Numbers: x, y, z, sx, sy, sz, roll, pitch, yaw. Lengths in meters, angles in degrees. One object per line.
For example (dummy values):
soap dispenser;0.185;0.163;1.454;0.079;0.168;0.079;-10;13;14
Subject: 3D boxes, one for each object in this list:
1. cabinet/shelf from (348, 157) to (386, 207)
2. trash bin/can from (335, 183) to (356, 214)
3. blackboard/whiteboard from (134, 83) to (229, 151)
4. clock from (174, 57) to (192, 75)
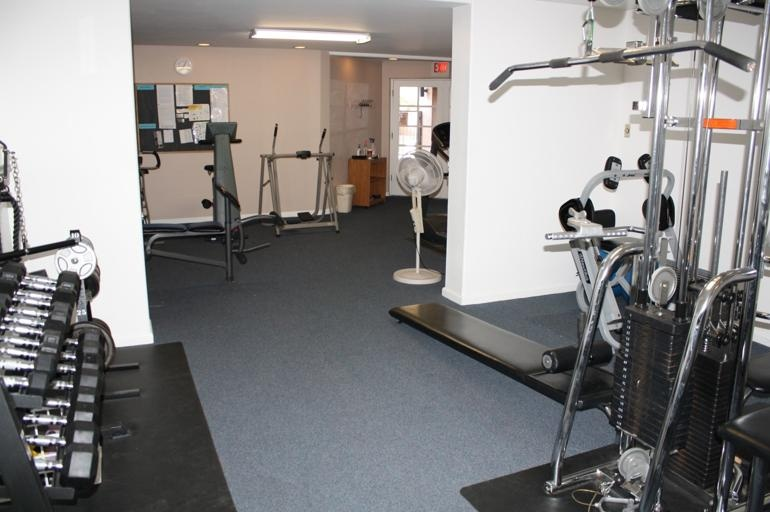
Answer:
cabinet/shelf;-0.336;-1.577;11.326;0.414;0.921;1.093;7;16;20
trash bin/can;-0.909;-1.141;10.717;0.489;0.638;0.500;-3;14;-19
blackboard/whiteboard;-3.365;-2.318;9.094;1.443;1.100;0.174;-7;11;-18
clock;-3.321;-3.118;8.885;0.263;0.264;0.034;9;8;-27
